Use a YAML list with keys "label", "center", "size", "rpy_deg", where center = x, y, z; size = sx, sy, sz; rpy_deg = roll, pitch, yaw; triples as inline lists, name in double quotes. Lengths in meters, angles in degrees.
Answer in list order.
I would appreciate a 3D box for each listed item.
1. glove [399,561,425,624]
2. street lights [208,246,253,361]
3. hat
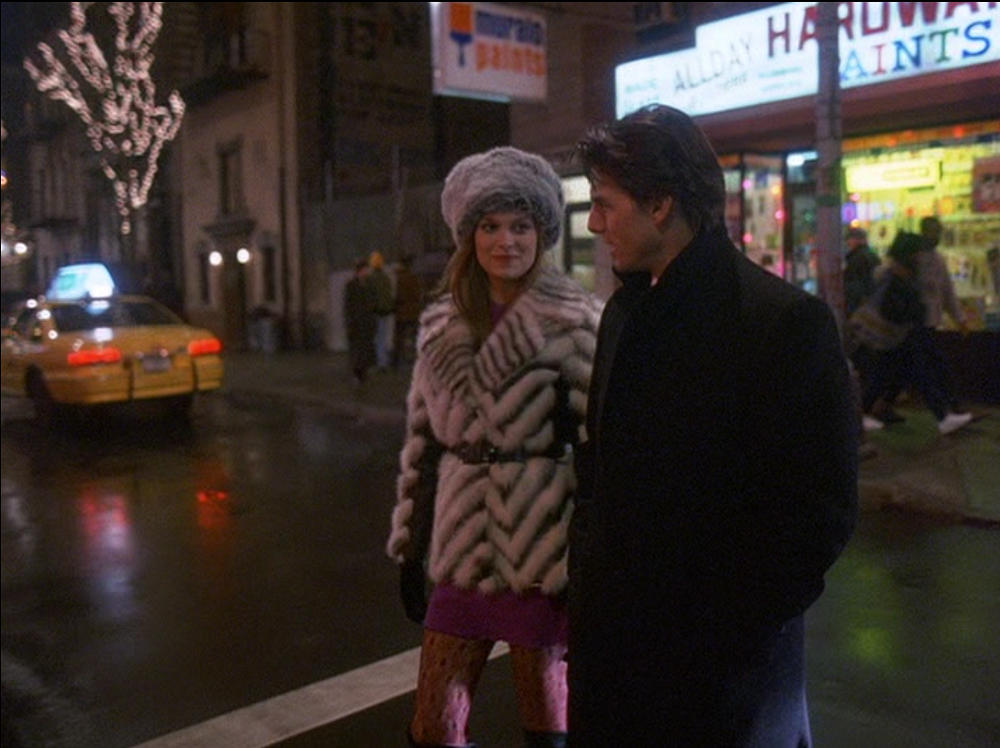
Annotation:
- label: "glove"
  center: [-0.291, 0.715, 2.983]
  size: [0.096, 0.222, 0.047]
  rpy_deg: [3, -1, 24]
- label: "street lights"
  center: [-1.217, -0.371, 3.963]
  size: [0.177, 0.414, 0.043]
  rpy_deg: [-1, 10, 3]
- label: "hat"
  center: [0.013, -0.559, 2.955]
  size: [0.307, 0.318, 0.382]
  rpy_deg: [-1, -4, -17]
